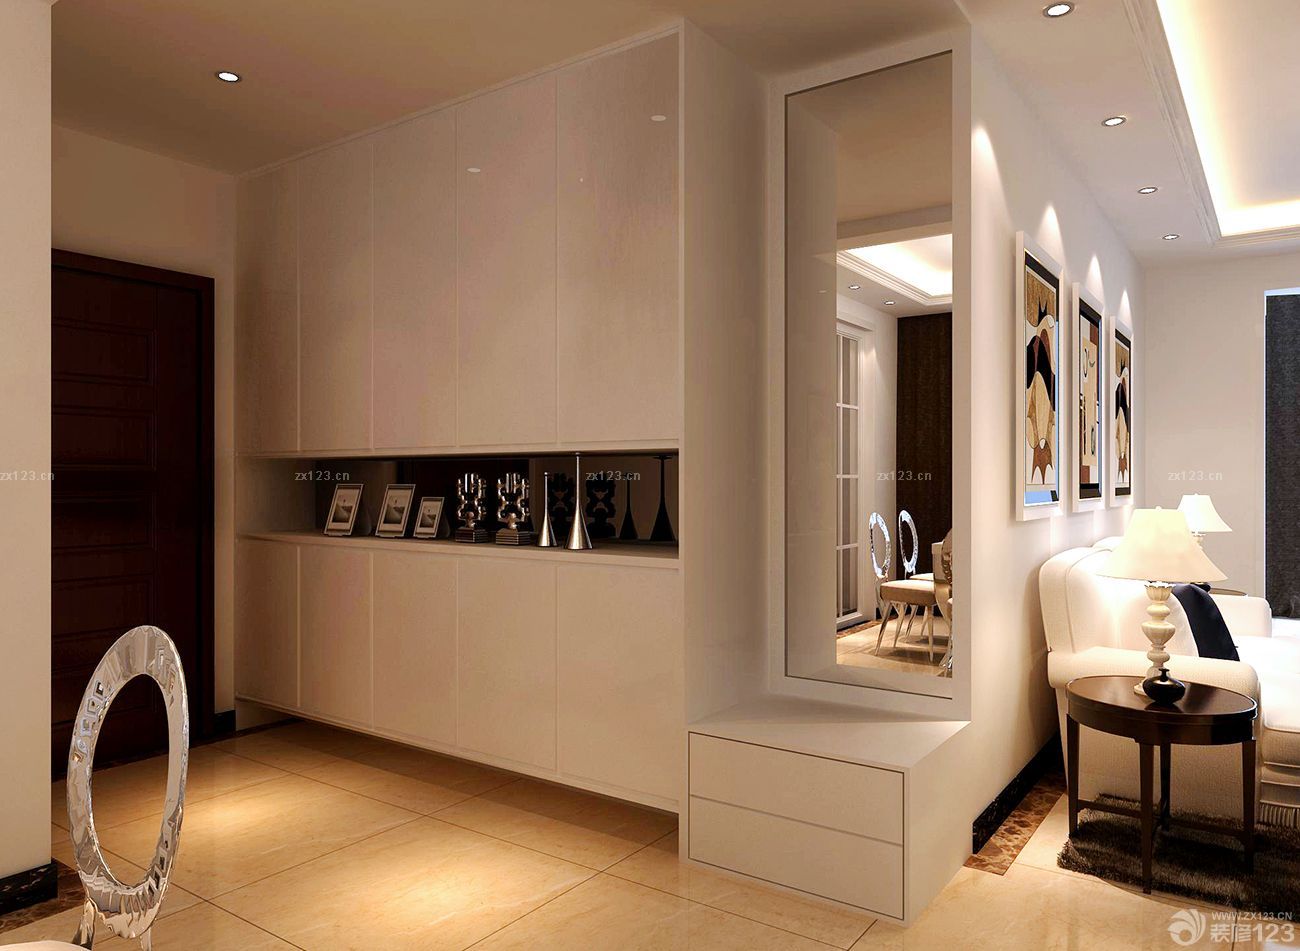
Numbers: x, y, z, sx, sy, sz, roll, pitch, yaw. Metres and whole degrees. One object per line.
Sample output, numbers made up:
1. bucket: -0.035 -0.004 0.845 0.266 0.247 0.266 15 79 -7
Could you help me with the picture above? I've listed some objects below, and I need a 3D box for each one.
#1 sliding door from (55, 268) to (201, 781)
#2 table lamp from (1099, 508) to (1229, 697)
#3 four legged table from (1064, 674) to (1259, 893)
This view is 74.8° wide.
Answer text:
1. sliding door: -2.697 0.173 4.476 0.907 2.605 0.288 -6 8 -40
2. table lamp: 2.159 0.537 3.619 0.492 0.763 0.490 0 0 -25
3. four legged table: 2.028 1.160 3.441 0.658 0.716 0.572 -2 6 -9
